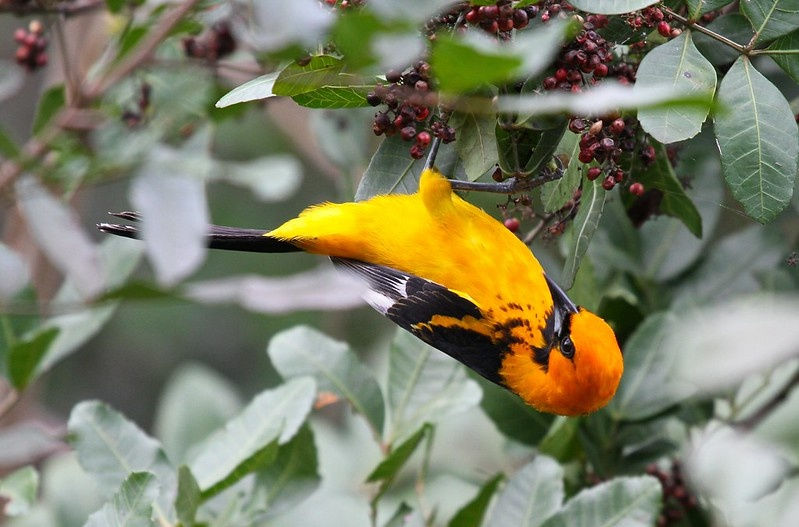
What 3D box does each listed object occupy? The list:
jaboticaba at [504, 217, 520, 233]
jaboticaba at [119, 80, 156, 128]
[{"bbox_3d":[0.319,-0.110,2.503,0.039,0.025,0.046,1,19,3],"label":"jaboticaba"},{"bbox_3d":[-0.480,-0.287,1.634,0.031,0.064,0.081,28,96,36],"label":"jaboticaba"}]
